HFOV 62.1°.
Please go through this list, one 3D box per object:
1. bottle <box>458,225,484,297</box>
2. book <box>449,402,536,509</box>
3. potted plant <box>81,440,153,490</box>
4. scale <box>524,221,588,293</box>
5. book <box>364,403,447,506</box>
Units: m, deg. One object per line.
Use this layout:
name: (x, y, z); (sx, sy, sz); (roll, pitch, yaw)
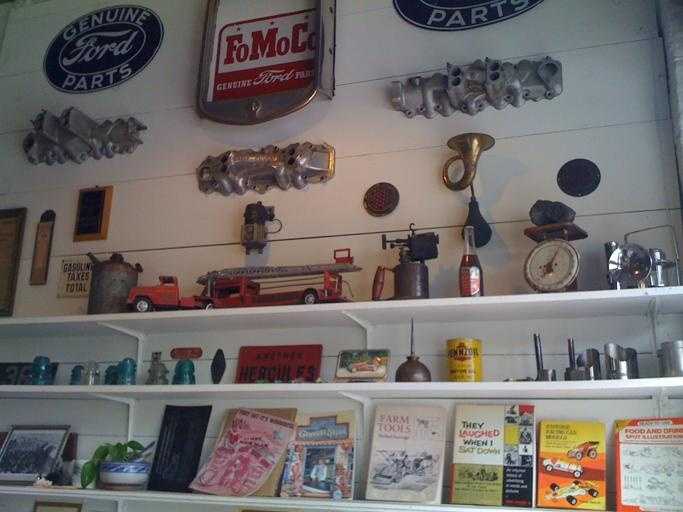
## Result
bottle: (0.578, 0.028, 2.539); (0.103, 0.347, 0.248); (-2, -14, 15)
book: (0.644, 0.839, 2.420); (0.352, 0.405, 0.090); (-2, -13, 14)
potted plant: (-1.053, 0.995, 2.710); (0.280, 0.197, 0.203); (-7, -22, 4)
scale: (0.924, 0.017, 2.446); (0.249, 0.306, 0.209); (-6, -15, 26)
book: (0.301, 0.831, 2.566); (0.290, 0.417, 0.397); (0, -3, 16)
